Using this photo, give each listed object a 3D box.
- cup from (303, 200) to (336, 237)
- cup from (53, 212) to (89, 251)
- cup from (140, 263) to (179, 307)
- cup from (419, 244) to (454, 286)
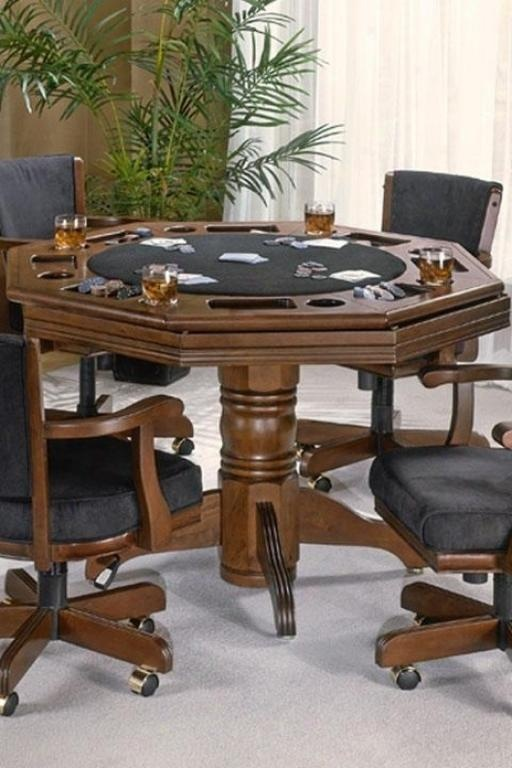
[{"bbox_3d":[0.198,-0.550,2.384,0.116,0.111,0.121,0,17,0],"label":"cup"},{"bbox_3d":[-0.547,-0.446,2.138,0.112,0.100,0.096,-4,16,-18],"label":"cup"},{"bbox_3d":[-0.177,-0.193,1.405,0.084,0.076,0.077,0,13,0],"label":"cup"},{"bbox_3d":[0.397,-0.270,1.627,0.089,0.083,0.096,-2,15,1],"label":"cup"}]
